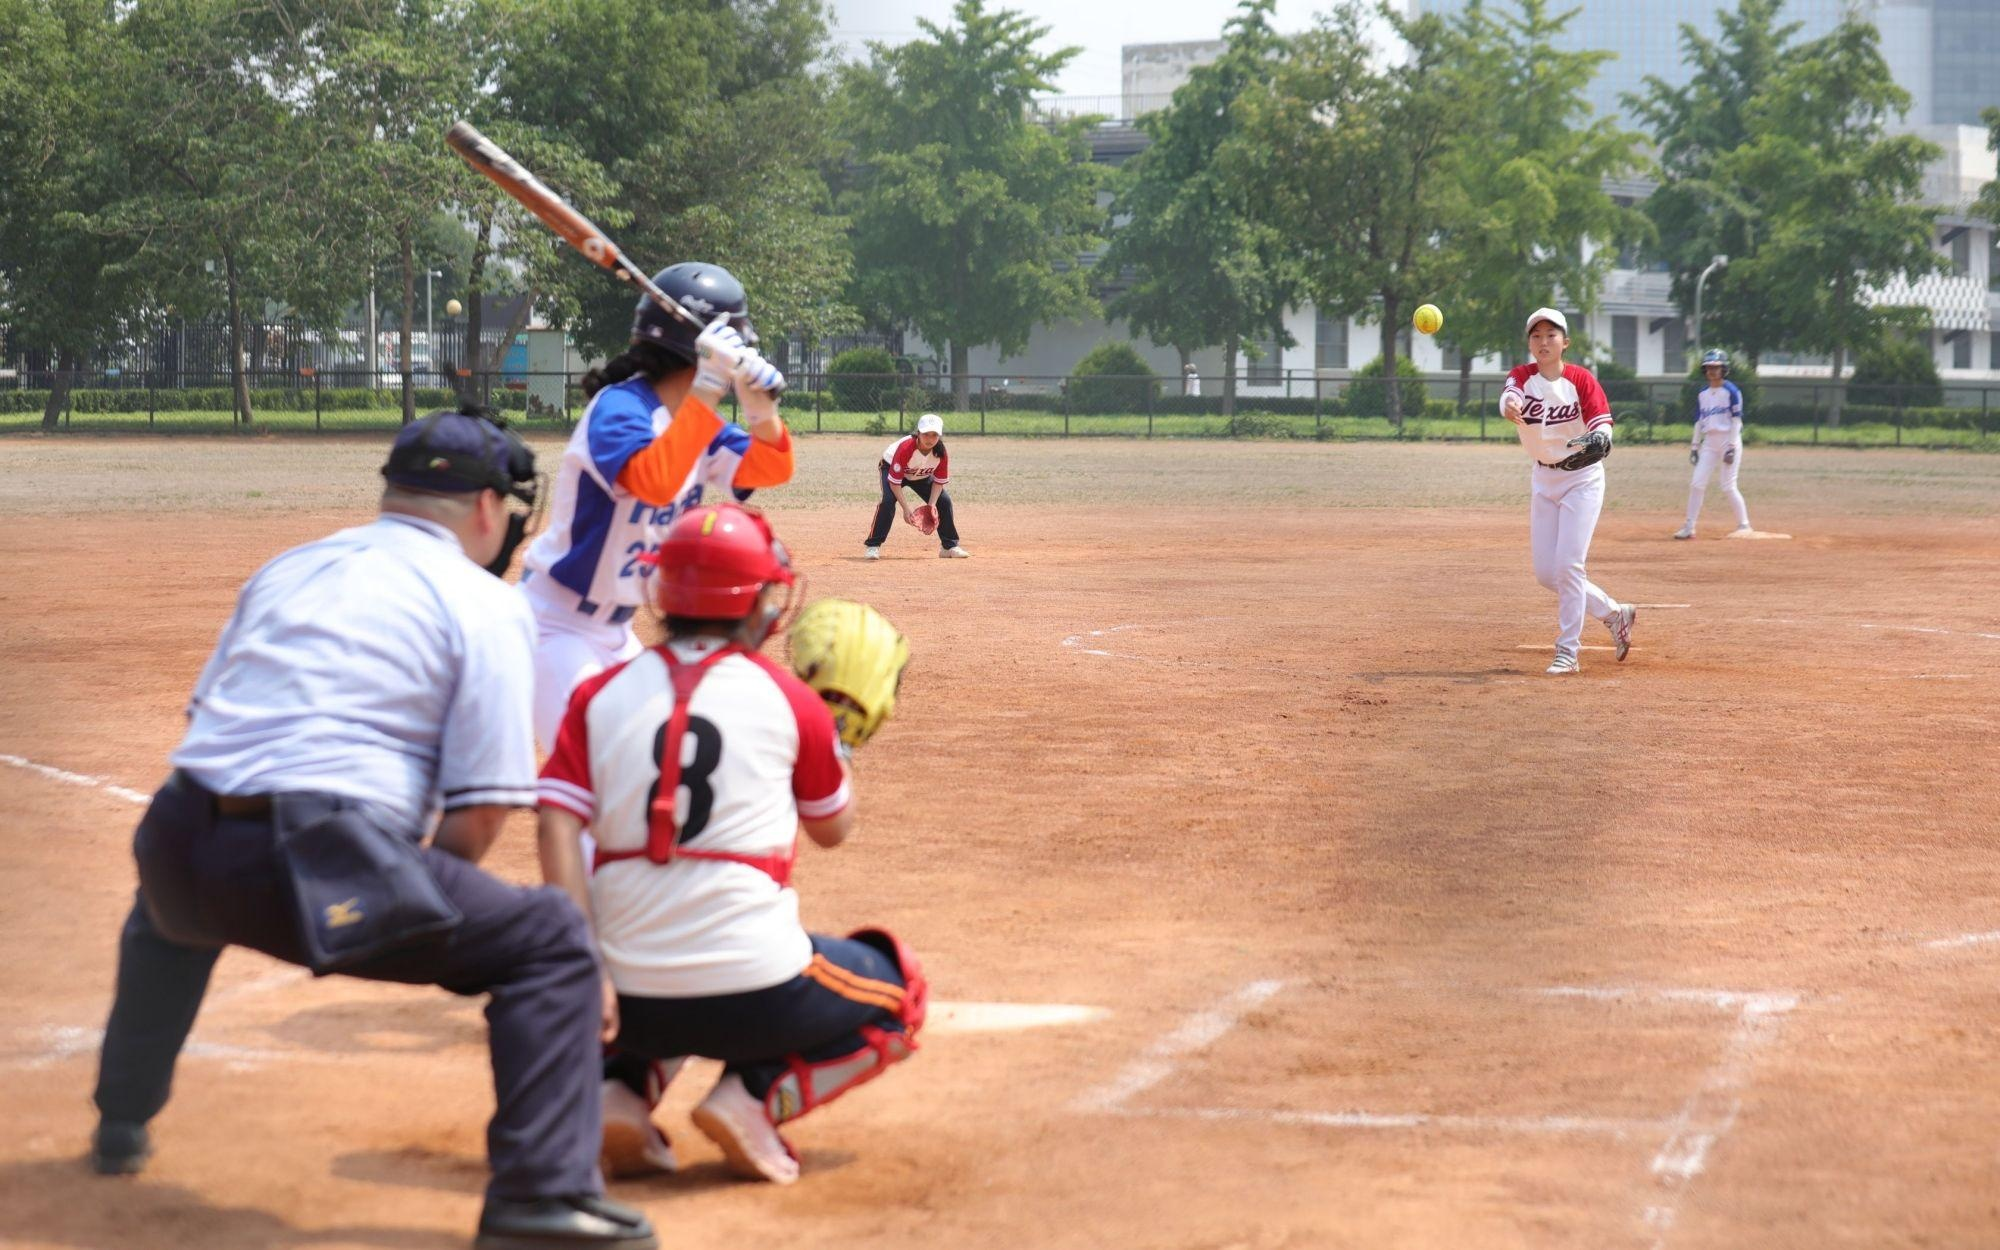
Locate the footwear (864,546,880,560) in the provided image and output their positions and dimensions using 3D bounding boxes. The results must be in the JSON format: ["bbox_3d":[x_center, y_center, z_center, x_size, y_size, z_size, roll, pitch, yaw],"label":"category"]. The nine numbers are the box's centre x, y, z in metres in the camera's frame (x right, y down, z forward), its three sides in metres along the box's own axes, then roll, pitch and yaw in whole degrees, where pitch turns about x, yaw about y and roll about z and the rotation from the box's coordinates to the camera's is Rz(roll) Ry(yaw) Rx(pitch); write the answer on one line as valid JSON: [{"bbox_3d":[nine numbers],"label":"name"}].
[{"bbox_3d":[-1.325,-0.753,21.482,0.090,0.109,0.270,0,-5,-6],"label":"footwear"}]

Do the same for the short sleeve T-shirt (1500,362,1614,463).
[{"bbox_3d":[3.670,-1.390,13.637,0.704,0.703,0.476,-1,14,5],"label":"short sleeve T-shirt"}]

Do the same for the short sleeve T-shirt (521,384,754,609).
[{"bbox_3d":[-1.556,-0.490,8.644,0.681,1.096,0.747,25,21,12],"label":"short sleeve T-shirt"}]

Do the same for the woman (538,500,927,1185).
[{"bbox_3d":[-0.995,0.837,7.745,1.408,2.476,1.315,1,-2,-5],"label":"woman"}]

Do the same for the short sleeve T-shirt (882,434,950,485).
[{"bbox_3d":[-1.007,-1.791,21.957,0.540,0.448,0.646,-1,7,-28],"label":"short sleeve T-shirt"}]

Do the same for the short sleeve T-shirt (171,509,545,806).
[{"bbox_3d":[-2.261,0.150,7.349,1.356,0.997,0.794,11,-11,18],"label":"short sleeve T-shirt"}]

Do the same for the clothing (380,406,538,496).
[{"bbox_3d":[-1.958,-0.611,7.556,0.470,0.367,0.678,5,1,15],"label":"clothing"}]

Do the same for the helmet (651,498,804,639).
[{"bbox_3d":[-1.007,-0.189,7.438,0.467,0.477,0.551,7,20,17],"label":"helmet"}]

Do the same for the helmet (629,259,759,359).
[{"bbox_3d":[-1.276,-1.347,8.671,0.500,0.414,0.363,-7,17,-21],"label":"helmet"}]

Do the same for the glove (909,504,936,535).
[{"bbox_3d":[-0.833,-1.159,21.749,0.310,0.257,0.136,34,-1,20],"label":"glove"}]

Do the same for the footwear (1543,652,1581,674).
[{"bbox_3d":[3.790,0.253,13.944,0.107,0.149,0.326,-1,-3,32],"label":"footwear"}]

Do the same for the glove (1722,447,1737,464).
[{"bbox_3d":[8.316,-1.948,23.525,0.156,0.202,0.077,2,-5,16],"label":"glove"}]

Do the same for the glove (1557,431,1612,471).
[{"bbox_3d":[3.846,-1.158,13.547,0.332,0.265,0.304,0,3,-5],"label":"glove"}]

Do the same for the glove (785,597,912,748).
[{"bbox_3d":[-0.589,0.172,7.730,0.494,0.511,0.401,-9,15,-2],"label":"glove"}]

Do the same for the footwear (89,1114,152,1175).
[{"bbox_3d":[-3.171,1.896,7.444,0.198,0.075,0.200,6,39,-6],"label":"footwear"}]

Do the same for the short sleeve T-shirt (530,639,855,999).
[{"bbox_3d":[-1.099,0.675,7.414,1.276,1.276,0.715,0,0,2],"label":"short sleeve T-shirt"}]
